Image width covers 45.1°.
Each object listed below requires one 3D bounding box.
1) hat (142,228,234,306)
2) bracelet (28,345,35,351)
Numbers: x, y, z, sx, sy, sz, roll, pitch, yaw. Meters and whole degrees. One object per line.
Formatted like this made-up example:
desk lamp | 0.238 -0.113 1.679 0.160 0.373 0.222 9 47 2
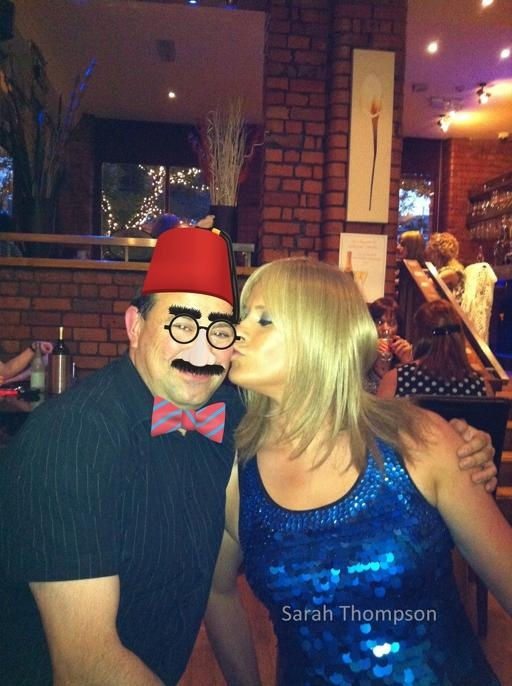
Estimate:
hat | -0.129 -0.145 1.281 0.170 0.118 0.169 3 -1 -44
bracelet | -1.239 0.025 3.395 0.013 0.035 0.036 -30 -23 -9
